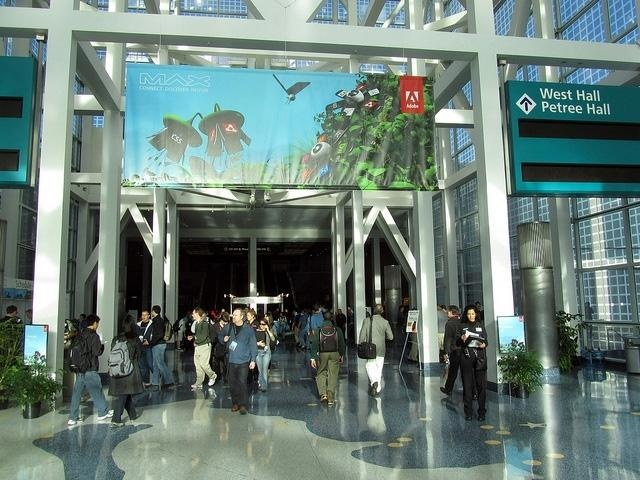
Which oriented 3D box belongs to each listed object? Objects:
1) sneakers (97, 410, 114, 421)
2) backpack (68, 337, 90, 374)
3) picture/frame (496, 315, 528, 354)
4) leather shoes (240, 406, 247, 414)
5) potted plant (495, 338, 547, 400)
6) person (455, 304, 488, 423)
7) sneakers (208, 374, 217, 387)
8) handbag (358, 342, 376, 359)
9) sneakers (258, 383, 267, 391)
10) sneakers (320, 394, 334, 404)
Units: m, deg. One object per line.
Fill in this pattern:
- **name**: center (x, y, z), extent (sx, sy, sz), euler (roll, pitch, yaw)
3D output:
- **sneakers**: center (-4.030, 3.298, 9.768), extent (0.146, 0.182, 0.426), euler (4, -4, -1)
- **backpack**: center (-4.353, 2.070, 9.295), extent (0.375, 0.656, 0.157), euler (-2, -5, 19)
- **picture/frame**: center (4.236, 2.125, 11.526), extent (0.723, 0.958, 0.068), euler (3, -16, -7)
- **leather shoes**: center (-1.492, 3.333, 10.078), extent (0.082, 0.056, 0.114), euler (4, 15, -18)
- **potted plant**: center (4.440, 2.704, 11.414), extent (0.892, 1.307, 1.077), euler (0, 2, 30)
- **person**: center (2.858, 2.416, 9.622), extent (0.484, 1.749, 0.481), euler (-1, -5, 10)
- **sneakers**: center (-2.726, 3.614, 13.204), extent (0.172, 0.416, 0.164), euler (-7, -28, 28)
- **handbag**: center (1.007, 2.415, 11.238), extent (0.329, 0.459, 0.315), euler (6, -14, -5)
- **sneakers**: center (-1.373, 3.553, 12.382), extent (0.117, 0.246, 0.236), euler (8, -10, -21)
- **sneakers**: center (0.143, 3.339, 10.806), extent (0.141, 0.155, 0.322), euler (3, -10, -11)
